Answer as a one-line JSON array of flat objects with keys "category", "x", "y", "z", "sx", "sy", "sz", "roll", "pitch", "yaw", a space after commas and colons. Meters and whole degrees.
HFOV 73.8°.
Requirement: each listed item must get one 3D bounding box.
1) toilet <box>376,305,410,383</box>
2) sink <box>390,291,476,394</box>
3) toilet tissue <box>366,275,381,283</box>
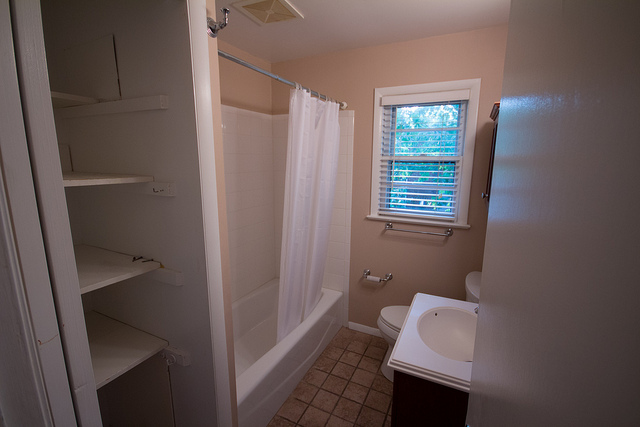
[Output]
[{"category": "toilet", "x": 0.451, "y": 0.807, "z": 2.713, "sx": 0.323, "sy": 0.402, "sz": 0.350, "roll": 1, "pitch": -3, "yaw": 13}, {"category": "sink", "x": 0.502, "y": 0.556, "z": 1.899, "sx": 0.312, "sy": 0.159, "sz": 0.453, "roll": 8, "pitch": 17, "yaw": 21}, {"category": "toilet tissue", "x": 0.389, "y": 0.478, "z": 3.086, "sx": 0.111, "sy": 0.061, "sz": 0.056, "roll": 9, "pitch": 14, "yaw": 36}]
